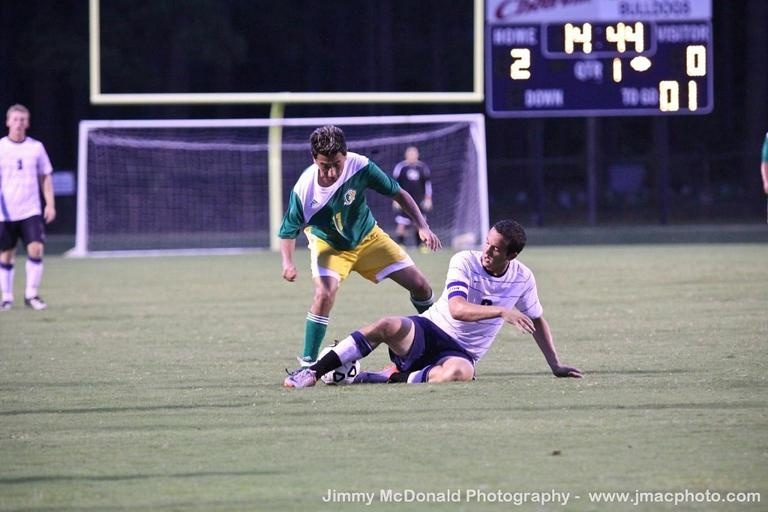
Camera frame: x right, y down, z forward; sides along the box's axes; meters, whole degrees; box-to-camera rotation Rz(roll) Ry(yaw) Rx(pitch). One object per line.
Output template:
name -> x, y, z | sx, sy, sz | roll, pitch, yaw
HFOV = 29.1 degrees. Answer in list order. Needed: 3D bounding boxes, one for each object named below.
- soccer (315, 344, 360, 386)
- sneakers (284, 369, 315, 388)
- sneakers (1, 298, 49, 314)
soccer -> -0.527, 1.370, 18.187 | 0.444, 0.494, 0.544 | 1, 3, -8
sneakers -> -1.019, 1.485, 17.935 | 0.375, 0.157, 0.189 | 1, 2, -9
sneakers -> -5.118, 0.715, 21.094 | 0.696, 0.172, 0.233 | -2, 1, -2
